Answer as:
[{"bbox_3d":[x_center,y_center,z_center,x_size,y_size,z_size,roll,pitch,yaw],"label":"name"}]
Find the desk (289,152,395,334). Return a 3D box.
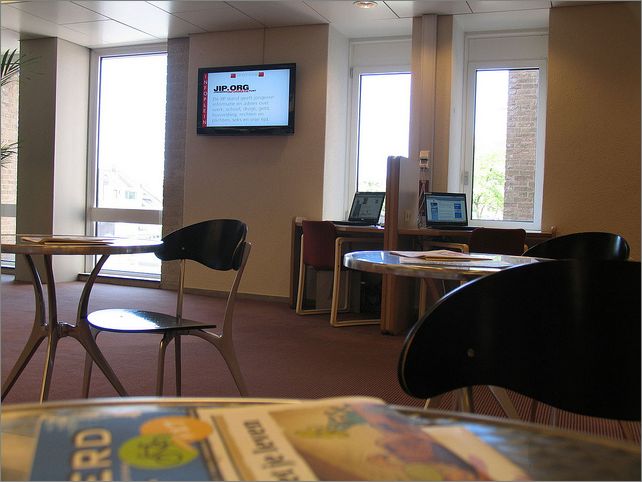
[{"bbox_3d":[0.091,0.190,5.361,1.142,2.096,1.060,3,-3,-30],"label":"desk"}]

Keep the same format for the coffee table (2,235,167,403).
[{"bbox_3d":[-0.880,0.306,1.912,0.634,0.611,0.663,0,2,-24],"label":"coffee table"}]

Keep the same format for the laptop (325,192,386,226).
[{"bbox_3d":[0.399,-0.324,5.097,0.378,0.271,0.439,-2,3,-36],"label":"laptop"}]

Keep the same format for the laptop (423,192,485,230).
[{"bbox_3d":[1.128,-0.264,4.514,0.481,0.336,0.308,2,-4,-28],"label":"laptop"}]

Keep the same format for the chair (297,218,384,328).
[{"bbox_3d":[0.093,0.245,4.866,0.832,1.154,0.902,-1,1,-28],"label":"chair"}]
